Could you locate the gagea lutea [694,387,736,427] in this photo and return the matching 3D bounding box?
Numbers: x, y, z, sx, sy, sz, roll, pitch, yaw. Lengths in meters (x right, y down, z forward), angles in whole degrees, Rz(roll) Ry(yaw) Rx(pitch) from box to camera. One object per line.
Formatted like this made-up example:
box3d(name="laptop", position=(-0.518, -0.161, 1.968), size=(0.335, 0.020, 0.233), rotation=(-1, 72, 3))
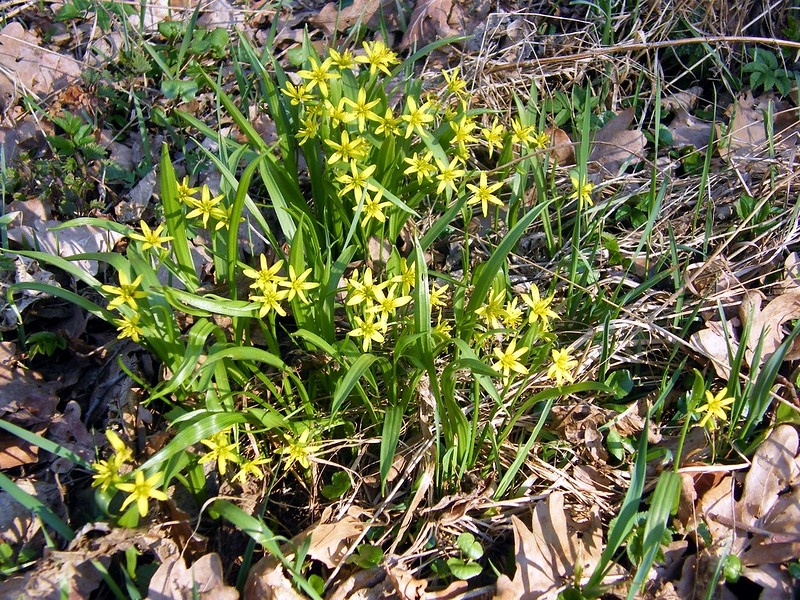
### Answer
box3d(name="gagea lutea", position=(1.389, 0.445, 2.937), size=(0.120, 0.047, 0.112), rotation=(12, 52, -40))
